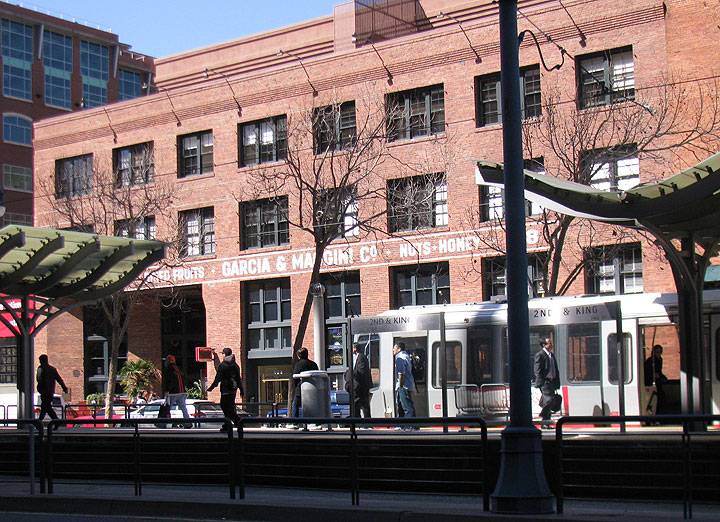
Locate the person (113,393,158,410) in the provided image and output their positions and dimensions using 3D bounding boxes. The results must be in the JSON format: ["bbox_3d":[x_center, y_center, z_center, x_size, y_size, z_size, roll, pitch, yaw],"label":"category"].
[{"bbox_3d":[-8.873,5.538,47.189,1.898,0.798,1.277,-1,-4,4],"label":"person"}]

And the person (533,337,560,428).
[{"bbox_3d":[4.924,3.142,31.182,0.644,2.288,1.231,-4,-11,8],"label":"person"}]

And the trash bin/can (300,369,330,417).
[{"bbox_3d":[-1.125,3.398,30.707,0.730,1.168,0.584,0,-11,-12],"label":"trash bin/can"}]

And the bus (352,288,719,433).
[{"bbox_3d":[6.556,2.370,33.478,13.441,4.784,3.758,-5,-9,31],"label":"bus"}]

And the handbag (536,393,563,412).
[{"bbox_3d":[5.045,3.708,31.424,0.577,0.547,0.411,-3,-2,-4],"label":"handbag"}]

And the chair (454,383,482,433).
[{"bbox_3d":[3.042,3.975,33.005,1.171,1.512,1.120,-1,-11,3],"label":"chair"}]
